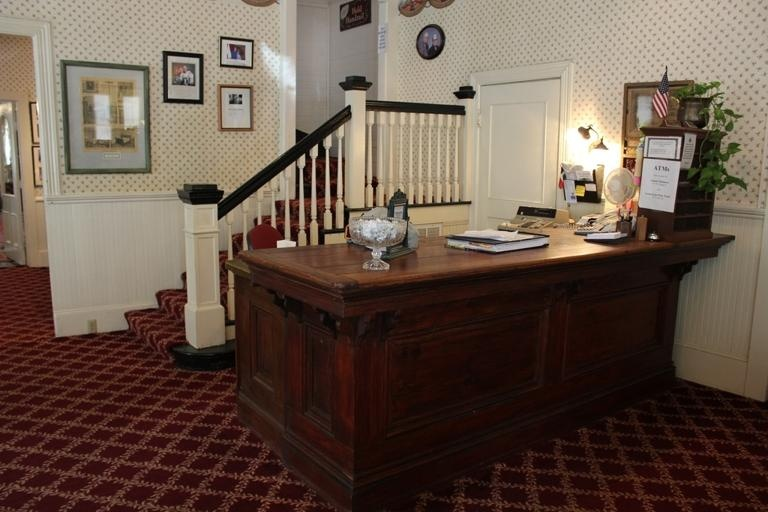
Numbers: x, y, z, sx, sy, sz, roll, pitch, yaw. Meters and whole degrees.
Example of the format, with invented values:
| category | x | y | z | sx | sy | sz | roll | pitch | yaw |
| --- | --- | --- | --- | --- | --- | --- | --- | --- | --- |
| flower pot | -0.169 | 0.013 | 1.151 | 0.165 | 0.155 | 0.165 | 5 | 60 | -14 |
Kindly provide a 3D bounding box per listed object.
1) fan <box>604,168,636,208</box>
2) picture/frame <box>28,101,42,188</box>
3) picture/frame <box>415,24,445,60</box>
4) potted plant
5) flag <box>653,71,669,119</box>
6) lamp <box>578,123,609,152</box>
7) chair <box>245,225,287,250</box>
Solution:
| category | x | y | z | sx | sy | sz | roll | pitch | yaw |
| --- | --- | --- | --- | --- | --- | --- | --- | --- | --- |
| fan | 2.136 | -0.612 | 4.755 | 0.266 | 0.331 | 0.109 | 8 | 16 | 22 |
| picture/frame | -5.427 | -1.705 | 8.175 | 0.175 | 1.319 | 0.404 | -8 | 17 | -33 |
| picture/frame | 0.613 | -2.840 | 7.022 | 0.056 | 0.445 | 0.470 | -13 | 23 | -43 |
| potted plant | 2.938 | -1.000 | 4.645 | 0.499 | 0.831 | 0.497 | -3 | 2 | 5 |
| flag | 2.471 | -1.422 | 4.678 | 0.113 | 0.414 | 0.214 | 9 | 16 | 25 |
| lamp | 2.191 | -1.236 | 5.535 | 0.228 | 0.265 | 0.296 | -1 | 11 | -37 |
| chair | -1.096 | -0.180 | 4.935 | 0.251 | 0.313 | 0.279 | -5 | 11 | -33 |
